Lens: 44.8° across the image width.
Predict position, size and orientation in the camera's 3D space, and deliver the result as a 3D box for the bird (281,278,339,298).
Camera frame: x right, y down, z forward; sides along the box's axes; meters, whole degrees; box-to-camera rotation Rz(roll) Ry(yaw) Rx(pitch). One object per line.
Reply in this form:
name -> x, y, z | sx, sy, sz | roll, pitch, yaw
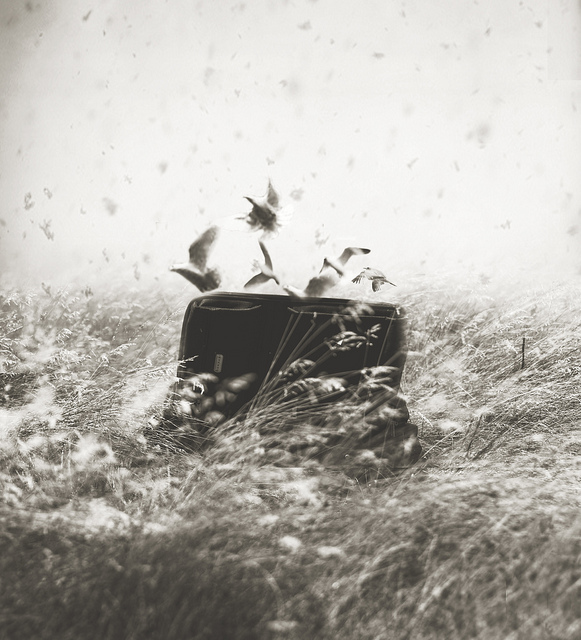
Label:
bird -> 0.070, -0.108, 2.484 | 0.213, 0.072, 0.087 | -4, 11, 1
